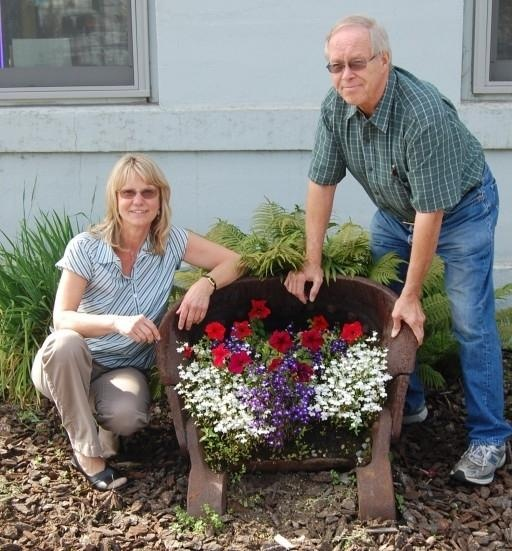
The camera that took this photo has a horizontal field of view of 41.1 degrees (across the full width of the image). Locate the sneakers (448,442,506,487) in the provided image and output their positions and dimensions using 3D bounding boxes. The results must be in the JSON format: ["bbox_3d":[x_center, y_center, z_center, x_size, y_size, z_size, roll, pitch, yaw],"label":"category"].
[{"bbox_3d":[1.102,0.931,3.413,0.342,0.126,0.150,-5,6,-40],"label":"sneakers"}]

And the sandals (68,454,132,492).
[{"bbox_3d":[-0.813,0.990,3.507,0.162,0.079,0.373,-29,32,-36],"label":"sandals"}]

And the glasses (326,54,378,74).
[{"bbox_3d":[0.426,-0.965,3.144,0.235,0.081,0.073,4,11,27],"label":"glasses"}]

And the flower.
[{"bbox_3d":[0.116,0.644,3.602,1.217,0.708,0.661,-1,-28,-2],"label":"flower"}]

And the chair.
[{"bbox_3d":[0.176,0.655,3.458,1.342,0.913,0.954,-5,17,8],"label":"chair"}]

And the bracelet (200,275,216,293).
[{"bbox_3d":[-0.239,0.038,3.504,0.025,0.081,0.079,-31,-27,-10],"label":"bracelet"}]
